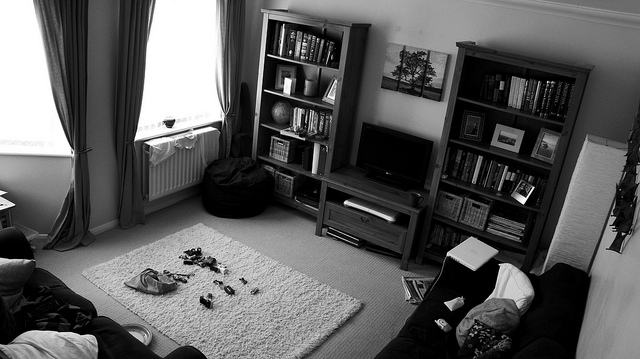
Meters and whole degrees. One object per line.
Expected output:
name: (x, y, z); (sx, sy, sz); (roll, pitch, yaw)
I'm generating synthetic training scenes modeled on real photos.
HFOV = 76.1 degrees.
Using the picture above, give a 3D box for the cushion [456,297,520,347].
cushion: (1.770, 1.446, 4.291); (0.609, 0.223, 0.457); (-22, 36, -8)

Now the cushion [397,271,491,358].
cushion: (1.430, 1.477, 4.646); (0.637, 0.230, 0.984); (25, 52, 30)

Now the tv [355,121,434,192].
tv: (1.105, -0.327, 6.123); (1.246, 0.830, 0.375); (22, 28, 37)

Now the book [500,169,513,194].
book: (2.492, 0.018, 5.439); (0.063, 0.311, 0.119); (20, 31, 26)

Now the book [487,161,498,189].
book: (2.326, -0.079, 5.493); (0.052, 0.351, 0.284); (14, 23, 10)

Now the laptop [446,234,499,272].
laptop: (1.932, 0.925, 5.085); (0.325, 0.052, 0.549); (28, 39, 24)

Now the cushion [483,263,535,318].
cushion: (2.078, 1.228, 4.514); (0.465, 0.494, 0.166); (48, 16, 32)

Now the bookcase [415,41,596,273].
bookcase: (2.343, -0.168, 5.470); (1.570, 2.992, 1.162); (12, 29, 14)

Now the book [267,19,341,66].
book: (-0.347, -2.078, 6.440); (1.205, 0.423, 0.449); (2, 5, -35)

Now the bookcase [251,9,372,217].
bookcase: (-0.077, -1.036, 6.313); (1.710, 3.125, 0.736); (20, 23, 27)

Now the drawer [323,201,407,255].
drawer: (0.818, 0.555, 6.387); (1.473, 0.410, 0.989); (17, 26, 14)

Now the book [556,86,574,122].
book: (3.016, -0.938, 5.029); (0.085, 0.407, 0.125); (16, 30, 19)
